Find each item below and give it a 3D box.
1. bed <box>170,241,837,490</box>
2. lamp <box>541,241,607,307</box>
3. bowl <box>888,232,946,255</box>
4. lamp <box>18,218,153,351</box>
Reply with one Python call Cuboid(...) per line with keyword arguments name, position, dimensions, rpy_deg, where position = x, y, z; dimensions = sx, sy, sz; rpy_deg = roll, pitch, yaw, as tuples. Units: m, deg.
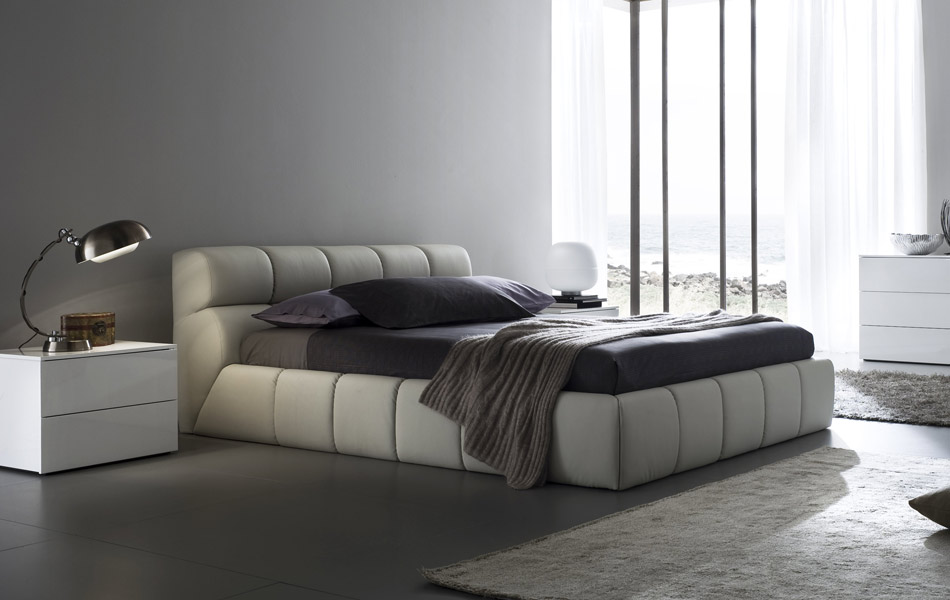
Cuboid(name="bed", position=(-0.070, 0.256, 4.093), dimensions=(3.710, 1.224, 1.433), rpy_deg=(1, 5, 26))
Cuboid(name="lamp", position=(0.874, -0.213, 5.681), dimensions=(0.568, 0.679, 0.537), rpy_deg=(-1, 2, 39))
Cuboid(name="bowl", position=(4.590, -0.566, 6.605), dimensions=(0.483, 0.227, 0.318), rpy_deg=(0, 4, 9))
Cuboid(name="lamp", position=(-2.283, -0.080, 3.710), dimensions=(0.609, 0.702, 0.804), rpy_deg=(-4, 5, -35))
